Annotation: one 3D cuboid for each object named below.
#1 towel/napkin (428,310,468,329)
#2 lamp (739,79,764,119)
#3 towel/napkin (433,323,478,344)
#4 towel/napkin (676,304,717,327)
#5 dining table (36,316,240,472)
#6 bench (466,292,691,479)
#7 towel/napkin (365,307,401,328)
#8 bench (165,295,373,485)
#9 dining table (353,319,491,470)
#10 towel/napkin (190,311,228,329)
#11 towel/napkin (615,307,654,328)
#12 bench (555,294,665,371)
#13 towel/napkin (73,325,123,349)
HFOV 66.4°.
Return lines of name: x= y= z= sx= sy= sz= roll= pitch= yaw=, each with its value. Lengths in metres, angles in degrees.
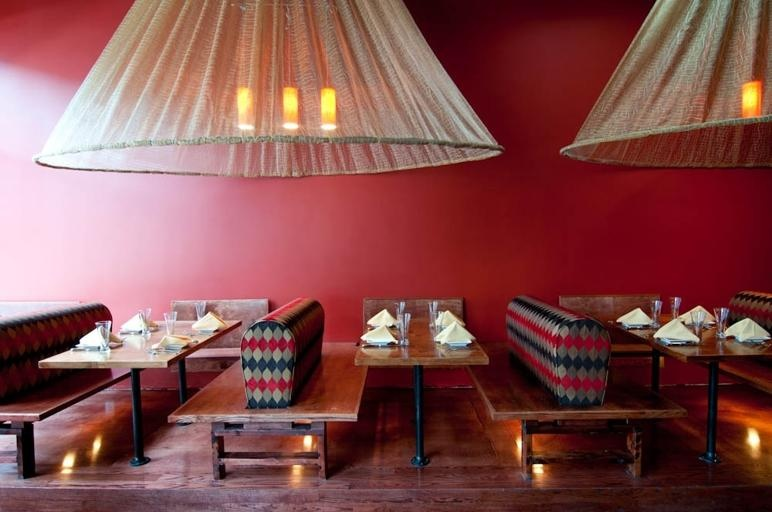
towel/napkin: x=0.482 y=0.498 z=4.698 sx=0.217 sy=0.060 sz=0.183 roll=0 pitch=1 yaw=22
lamp: x=1.138 y=-0.490 z=1.841 sx=0.067 sy=0.110 sz=0.048 roll=1 pitch=16 yaw=11
towel/napkin: x=0.495 y=0.566 z=4.319 sx=0.264 sy=0.066 sz=0.158 roll=-2 pitch=3 yaw=-14
towel/napkin: x=2.390 y=0.455 z=4.571 sx=0.259 sy=0.079 sz=0.314 roll=0 pitch=1 yaw=31
dining table: x=-1.745 y=0.735 z=4.327 sx=1.222 sy=0.721 sz=1.881 roll=1 pitch=0 yaw=2
bench: x=1.260 y=0.863 z=4.255 sx=1.262 sy=1.061 sz=1.112 roll=-2 pitch=13 yaw=-1
towel/napkin: x=-0.036 y=0.509 z=4.891 sx=0.242 sy=0.069 sz=0.196 roll=0 pitch=2 yaw=12
bench: x=-0.779 y=0.880 z=4.262 sx=1.241 sy=1.069 sz=1.094 roll=-2 pitch=13 yaw=-1
dining table: x=0.400 y=1.007 z=4.230 sx=1.253 sy=0.500 sz=1.031 roll=0 pitch=-1 yaw=-2
towel/napkin: x=-1.473 y=0.537 z=4.950 sx=0.239 sy=0.073 sz=0.217 roll=1 pitch=0 yaw=-11
towel/napkin: x=2.030 y=0.504 z=4.827 sx=0.264 sy=0.084 sz=0.294 roll=1 pitch=-1 yaw=18
bench: x=1.746 y=0.592 z=4.564 sx=1.079 sy=0.457 sz=0.354 roll=0 pitch=-4 yaw=1
towel/napkin: x=-2.086 y=0.601 z=4.297 sx=0.268 sy=0.064 sz=0.246 roll=0 pitch=3 yaw=0
